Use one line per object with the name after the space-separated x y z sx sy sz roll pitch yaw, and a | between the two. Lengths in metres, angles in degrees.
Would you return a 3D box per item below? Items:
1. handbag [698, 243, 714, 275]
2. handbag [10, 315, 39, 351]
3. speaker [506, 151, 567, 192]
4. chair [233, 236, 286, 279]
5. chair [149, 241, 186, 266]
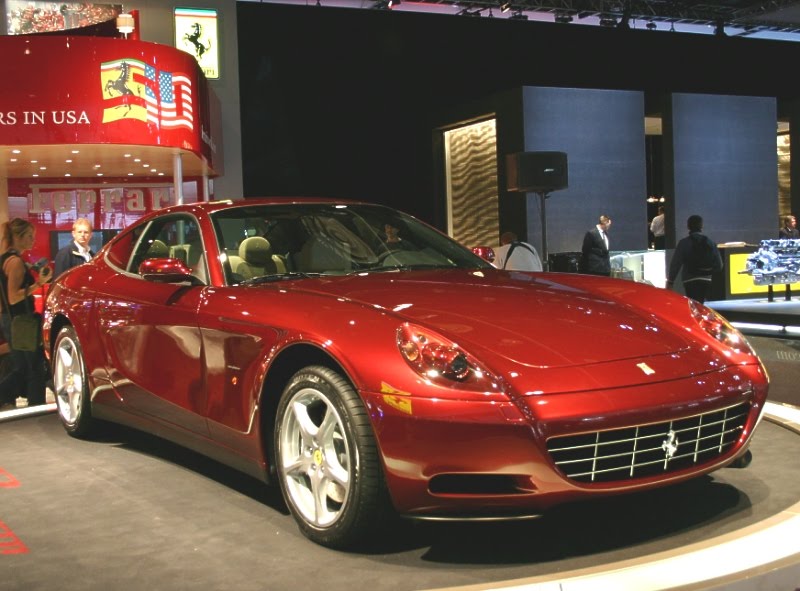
4.847 -0.596 9.989 0.111 0.406 0.301 -1 -3 42 | handbag
-3.142 0.320 5.341 0.211 0.323 0.199 -3 3 -32 | handbag
2.657 -2.335 12.520 0.901 0.539 0.895 -1 2 -3 | speaker
-0.769 -0.180 3.412 0.256 0.245 0.128 5 -5 -32 | chair
-1.369 -0.255 3.766 0.199 0.170 0.153 -8 4 8 | chair
